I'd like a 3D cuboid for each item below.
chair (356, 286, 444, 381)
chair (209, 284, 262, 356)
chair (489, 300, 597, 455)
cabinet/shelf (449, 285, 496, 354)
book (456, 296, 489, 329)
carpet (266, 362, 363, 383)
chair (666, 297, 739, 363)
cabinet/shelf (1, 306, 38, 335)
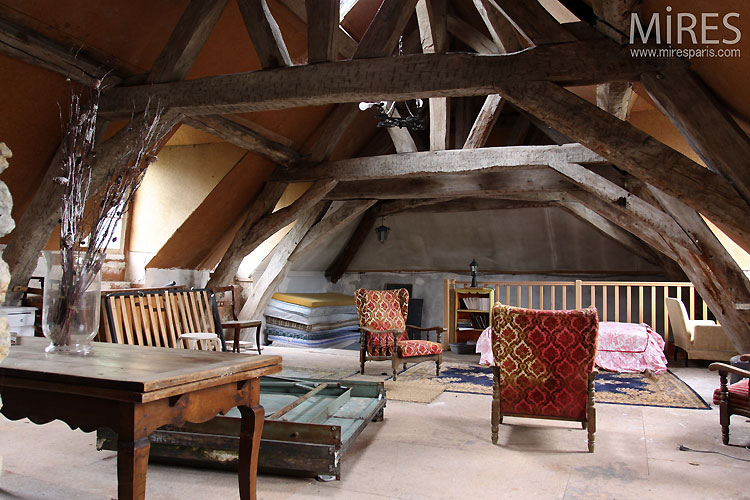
[{"bbox_3d":[0.287,0.977,6.371,0.811,0.937,0.848,3,-2,-39],"label":"chair"},{"bbox_3d":[-1.817,0.925,6.983,0.661,0.777,0.609,3,1,1],"label":"chair"},{"bbox_3d":[1.295,1.046,4.443,1.040,0.987,0.972,-2,-16,19],"label":"chair"},{"bbox_3d":[1.513,1.121,8.258,0.640,0.955,0.307,0,-6,14],"label":"cabinet/shelf"},{"bbox_3d":[1.524,0.970,8.276,0.556,0.473,0.299,-3,-8,27],"label":"book"},{"bbox_3d":[-0.667,1.409,6.122,0.696,0.124,0.699,0,-3,8],"label":"carpet"},{"bbox_3d":[4.142,1.010,7.006,0.827,0.732,1.002,-1,2,12],"label":"chair"},{"bbox_3d":[-3.293,0.682,4.972,0.239,0.280,0.277,4,4,38],"label":"cabinet/shelf"}]
